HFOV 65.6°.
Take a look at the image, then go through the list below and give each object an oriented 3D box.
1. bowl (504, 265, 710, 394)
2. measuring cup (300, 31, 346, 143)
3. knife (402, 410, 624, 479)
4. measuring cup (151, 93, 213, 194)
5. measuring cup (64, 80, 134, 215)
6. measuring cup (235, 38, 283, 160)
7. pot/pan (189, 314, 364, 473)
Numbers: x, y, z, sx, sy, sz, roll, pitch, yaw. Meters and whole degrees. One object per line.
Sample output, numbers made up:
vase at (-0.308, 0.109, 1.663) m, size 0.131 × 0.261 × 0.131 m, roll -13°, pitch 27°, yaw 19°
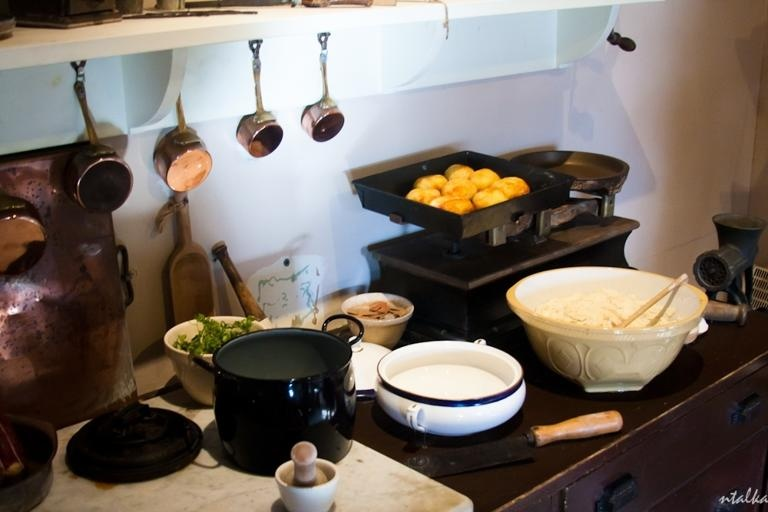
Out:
bowl at (0.579, 0.191, 1.555) m, size 0.449 × 0.252 × 0.359 m, roll -15°, pitch 22°, yaw -26°
measuring cup at (-0.160, -0.443, 1.588) m, size 0.123 × 0.301 × 0.077 m, roll -22°, pitch 44°, yaw -31°
knife at (0.280, 0.423, 1.329) m, size 0.671 × 0.061 × 0.089 m, roll -6°, pitch 33°, yaw -15°
measuring cup at (-0.489, -0.268, 1.449) m, size 0.133 × 0.227 × 0.086 m, roll -14°, pitch 13°, yaw -30°
measuring cup at (-0.654, -0.239, 1.322) m, size 0.115 × 0.285 × 0.099 m, roll -22°, pitch 26°, yaw -35°
measuring cup at (-0.325, -0.400, 1.510) m, size 0.097 × 0.274 × 0.128 m, roll 23°, pitch 27°, yaw 39°
pot/pan at (-0.207, 0.308, 1.281) m, size 0.280 × 0.252 × 0.209 m, roll -1°, pitch 21°, yaw 13°
